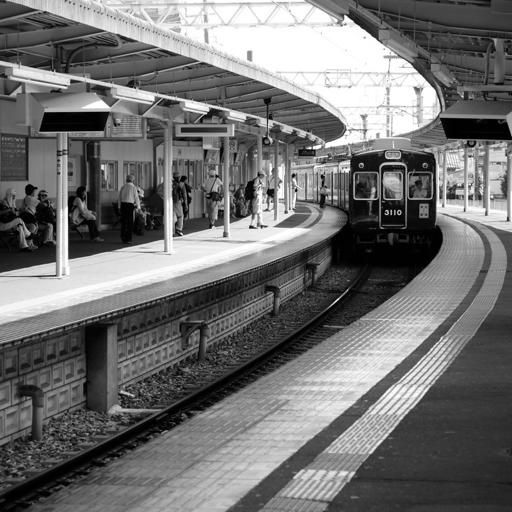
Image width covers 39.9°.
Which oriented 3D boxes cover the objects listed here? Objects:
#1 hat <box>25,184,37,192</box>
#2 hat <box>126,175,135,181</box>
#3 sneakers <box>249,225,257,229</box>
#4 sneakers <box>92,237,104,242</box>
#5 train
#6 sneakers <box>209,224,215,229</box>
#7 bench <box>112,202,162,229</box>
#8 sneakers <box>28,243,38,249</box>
[{"bbox_3d":[-5.271,-1.610,16.408,0.224,0.183,0.338,0,18,15],"label":"hat"},{"bbox_3d":[-3.138,-1.953,17.474,0.110,0.160,0.157,3,18,5],"label":"hat"},{"bbox_3d":[-0.137,-0.979,23.363,0.291,0.131,0.093,1,7,36],"label":"sneakers"},{"bbox_3d":[-3.980,-0.465,17.644,0.245,0.094,0.183,-6,-28,-17],"label":"sneakers"},{"bbox_3d":[4.113,-1.978,25.781,2.304,4.289,13.240,-1,3,2],"label":"train"},{"bbox_3d":[-1.461,-0.985,22.885,0.185,0.144,0.256,2,-4,-2],"label":"sneakers"},{"bbox_3d":[-3.691,-1.282,22.534,1.086,0.818,0.861,2,5,18],"label":"bench"},{"bbox_3d":[-4.931,-0.217,15.540,0.059,0.126,0.191,5,9,27],"label":"sneakers"}]
